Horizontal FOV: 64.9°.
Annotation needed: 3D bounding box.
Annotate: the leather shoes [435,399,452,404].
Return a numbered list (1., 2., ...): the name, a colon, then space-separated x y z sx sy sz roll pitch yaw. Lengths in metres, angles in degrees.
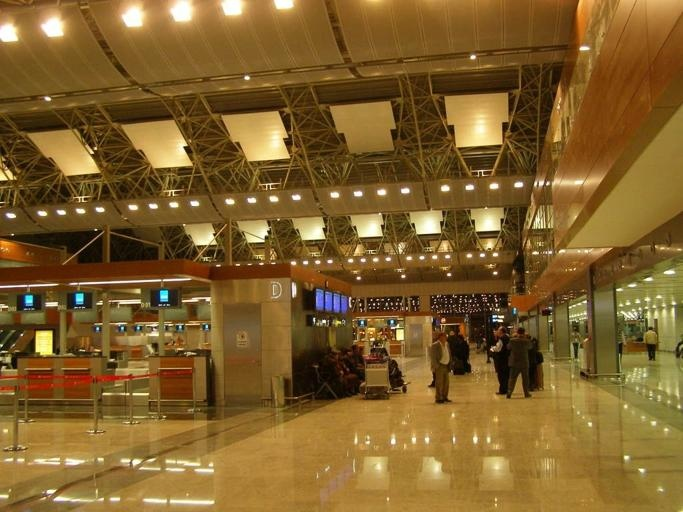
1. leather shoes: 2.592 3.658 13.595 0.474 0.091 0.248 2 -12 -21

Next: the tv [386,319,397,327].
1. tv: 4.274 5.666 45.838 0.868 0.603 0.627 -3 -12 2

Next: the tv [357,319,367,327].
1. tv: 1.659 5.724 45.813 1.058 0.536 0.746 -3 -4 4

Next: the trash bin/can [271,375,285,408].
1. trash bin/can: -1.660 3.446 13.746 0.356 0.732 0.247 0 -12 -9

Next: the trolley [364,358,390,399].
1. trolley: 0.967 3.520 15.415 0.735 1.073 1.225 -3 -12 2

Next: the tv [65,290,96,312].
1. tv: -7.983 1.332 16.252 0.987 0.641 0.514 1 1 6

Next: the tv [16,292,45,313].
1. tv: -9.749 1.434 16.582 0.647 0.422 0.085 -1 -12 -1

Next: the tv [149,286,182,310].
1. tv: -5.230 1.237 15.627 1.046 0.522 0.644 2 2 3
